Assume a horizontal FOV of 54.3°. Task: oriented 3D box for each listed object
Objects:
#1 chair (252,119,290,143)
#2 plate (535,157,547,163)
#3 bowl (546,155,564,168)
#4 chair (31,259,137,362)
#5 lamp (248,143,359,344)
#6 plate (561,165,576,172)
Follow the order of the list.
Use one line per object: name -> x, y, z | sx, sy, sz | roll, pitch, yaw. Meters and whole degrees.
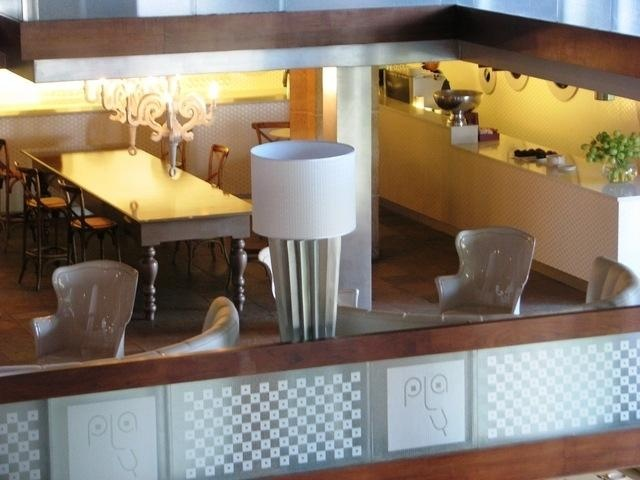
chair -> -0.823, -1.769, 10.426 | 0.591, 0.383, 1.968 | 0, 13, -6
plate -> 2.892, -1.027, 8.161 | 0.084, 0.069, 0.089 | 0, 18, 3
bowl -> 2.972, -0.992, 7.926 | 0.168, 0.136, 0.177 | -1, 11, 0
chair -> -1.816, 0.567, 5.103 | 0.716, 0.921, 0.788 | 1, 4, 5
lamp -> -0.095, 0.044, 3.581 | 0.582, 1.174, 0.455 | 0, 12, -6
plate -> 3.069, -0.876, 7.714 | 0.176, 0.075, 0.137 | 2, 13, 3
